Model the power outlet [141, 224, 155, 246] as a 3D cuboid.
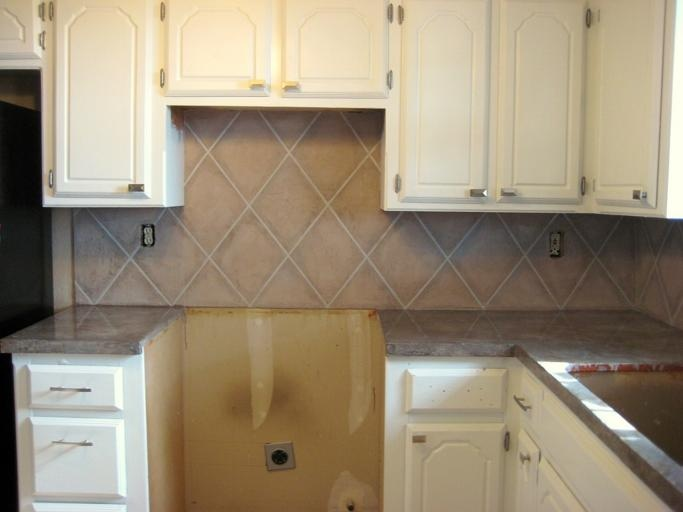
[{"bbox_3d":[-0.951,-0.111,3.141,0.063,0.100,0.022,-1,0,-1],"label":"power outlet"}]
